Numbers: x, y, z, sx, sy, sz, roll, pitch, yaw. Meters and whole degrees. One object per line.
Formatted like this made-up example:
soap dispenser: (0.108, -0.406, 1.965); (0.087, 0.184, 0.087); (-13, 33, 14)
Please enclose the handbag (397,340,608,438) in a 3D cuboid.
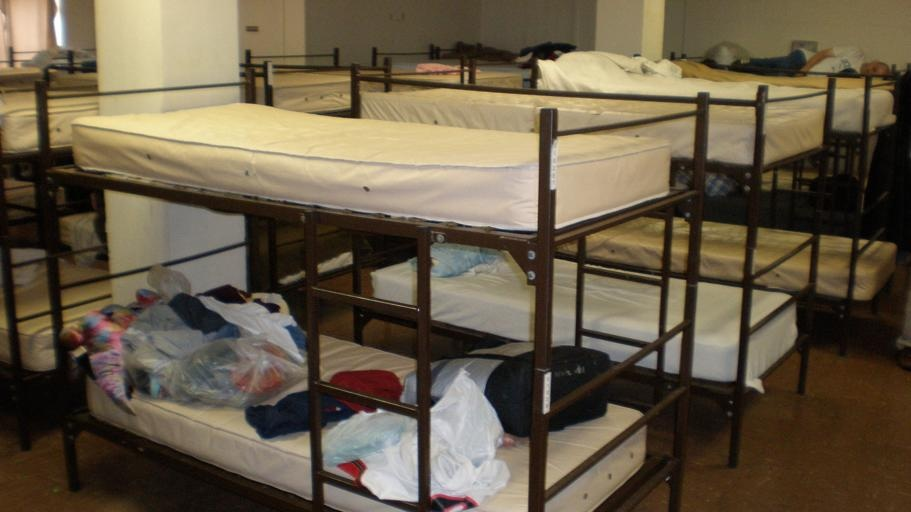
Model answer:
handbag: (0.466, 0.913, 5.461); (0.935, 0.395, 1.006); (10, 14, 43)
